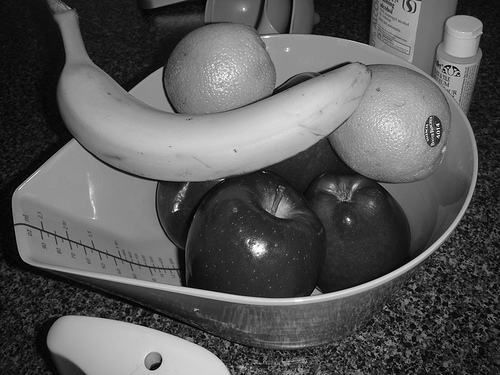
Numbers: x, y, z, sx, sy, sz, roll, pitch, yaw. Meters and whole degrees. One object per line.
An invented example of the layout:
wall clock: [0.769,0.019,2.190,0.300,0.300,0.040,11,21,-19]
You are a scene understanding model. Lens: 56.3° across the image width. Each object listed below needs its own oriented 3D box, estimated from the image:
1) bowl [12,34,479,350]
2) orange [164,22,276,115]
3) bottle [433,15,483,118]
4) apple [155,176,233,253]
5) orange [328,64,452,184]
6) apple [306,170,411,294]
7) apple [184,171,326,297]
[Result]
bowl: [-0.002,0.104,0.654,0.489,0.222,0.499,1,55,-2]
orange: [-0.040,-0.162,0.679,0.135,0.134,0.151,-14,78,10]
bottle: [0.345,-0.195,0.779,0.065,0.181,0.068,-7,48,8]
apple: [-0.095,0.030,0.697,0.085,0.046,0.114,1,94,29]
orange: [0.197,-0.078,0.687,0.154,0.138,0.141,27,66,10]
apple: [0.140,0.048,0.686,0.126,0.192,0.157,-9,20,6]
apple: [0.009,0.056,0.607,0.179,0.076,0.179,6,61,8]
